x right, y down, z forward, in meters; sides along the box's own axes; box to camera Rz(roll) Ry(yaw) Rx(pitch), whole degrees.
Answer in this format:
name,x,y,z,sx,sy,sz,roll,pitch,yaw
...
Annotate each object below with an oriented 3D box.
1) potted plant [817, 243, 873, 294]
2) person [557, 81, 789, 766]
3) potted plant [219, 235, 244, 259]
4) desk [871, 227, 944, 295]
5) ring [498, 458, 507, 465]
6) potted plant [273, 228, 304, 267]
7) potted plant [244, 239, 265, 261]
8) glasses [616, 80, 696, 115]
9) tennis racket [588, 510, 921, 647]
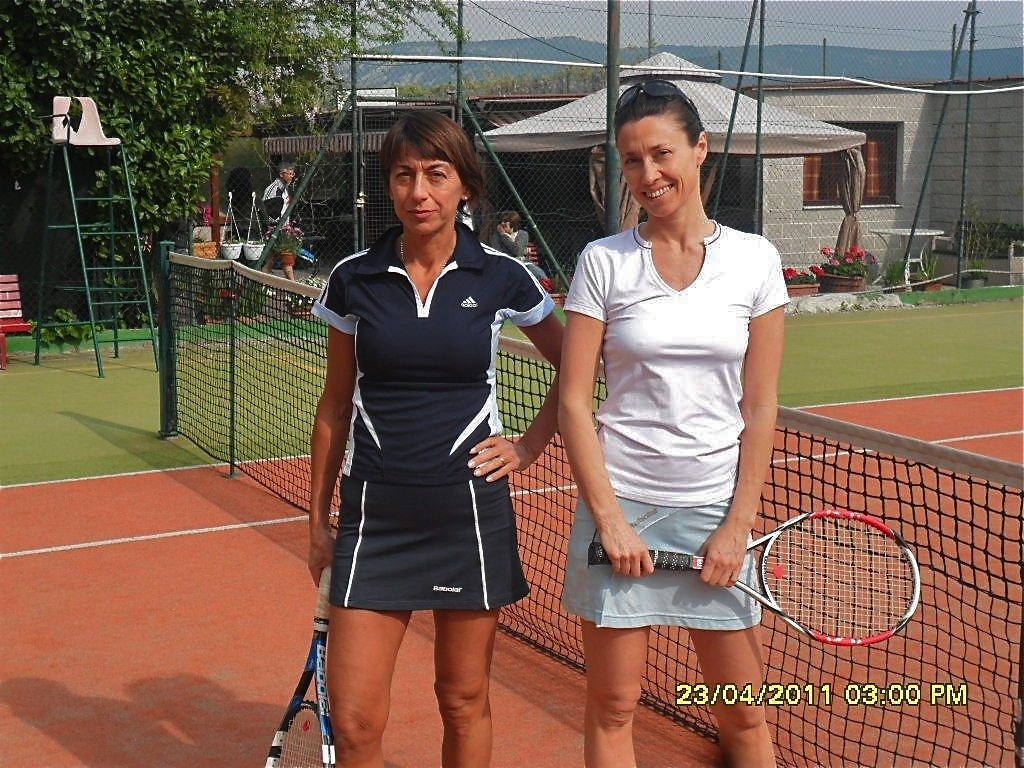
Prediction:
name,x,y,z,sx,sy,sz,roll,pitch,yaw
potted plant,6.570,-2.228,19.242,1.055,0.890,1.167,1,4,-10
person,0.490,0.183,2.843,0.701,2.129,0.337,1,9,3
potted plant,-5.391,-2.544,18.219,0.529,0.415,0.548,-1,-1,-25
desk,8.798,-2.894,21.036,1.708,1.416,1.821,1,0,0
ring,-0.028,0.239,2.947,0.019,0.020,0.005,-5,-7,-21
potted plant,-4.077,-2.474,17.356,0.443,0.870,1.654,-2,10,-13
potted plant,-4.919,-2.484,18.063,0.331,0.325,1.449,-2,11,-15
glasses,0.434,-0.854,2.811,0.226,0.110,0.183,4,10,17
tennis racket,0.780,0.594,3.112,1.045,0.466,0.095,1,17,28
